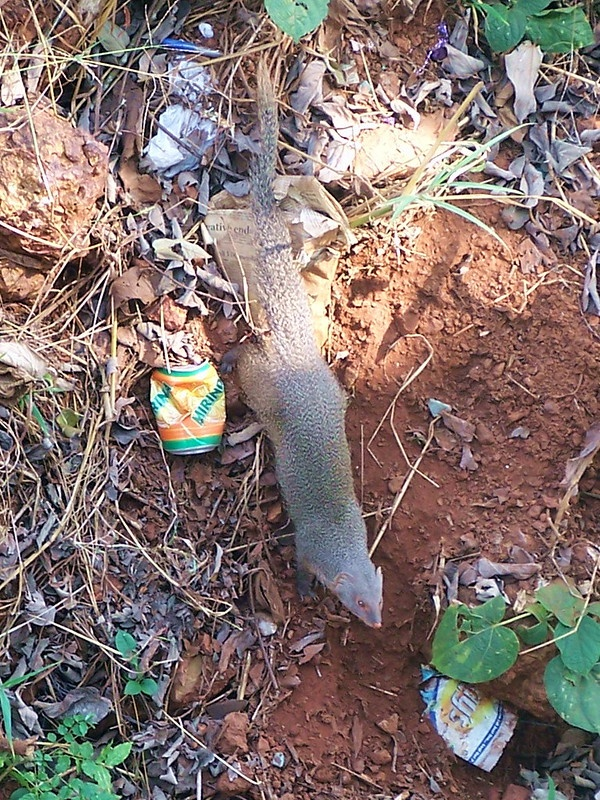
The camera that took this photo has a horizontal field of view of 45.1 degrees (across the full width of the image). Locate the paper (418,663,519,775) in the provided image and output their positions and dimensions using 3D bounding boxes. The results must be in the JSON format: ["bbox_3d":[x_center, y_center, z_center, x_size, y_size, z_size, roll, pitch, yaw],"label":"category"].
[{"bbox_3d":[0.607,1.225,2.796,0.394,0.107,0.234,27,66,11],"label":"paper"}]

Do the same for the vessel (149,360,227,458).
[{"bbox_3d":[-0.443,0.020,2.892,0.292,0.275,0.361,-10,105,-29],"label":"vessel"}]
